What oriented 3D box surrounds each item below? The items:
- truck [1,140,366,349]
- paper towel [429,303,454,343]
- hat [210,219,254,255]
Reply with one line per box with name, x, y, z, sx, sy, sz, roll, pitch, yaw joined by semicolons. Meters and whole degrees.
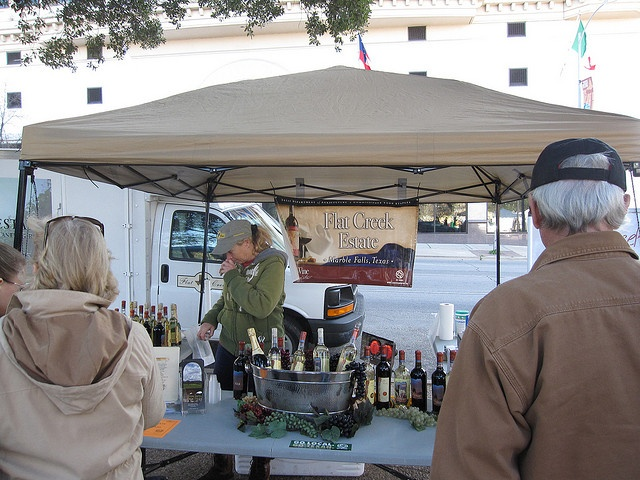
truck;-1.695;0.048;9.175;4.591;2.692;2.087;0;1;12
paper towel;1.167;0.779;6.540;0.206;0.379;0.356;1;2;2
hat;-0.761;-0.048;5.867;0.443;0.252;0.296;-18;5;-34
